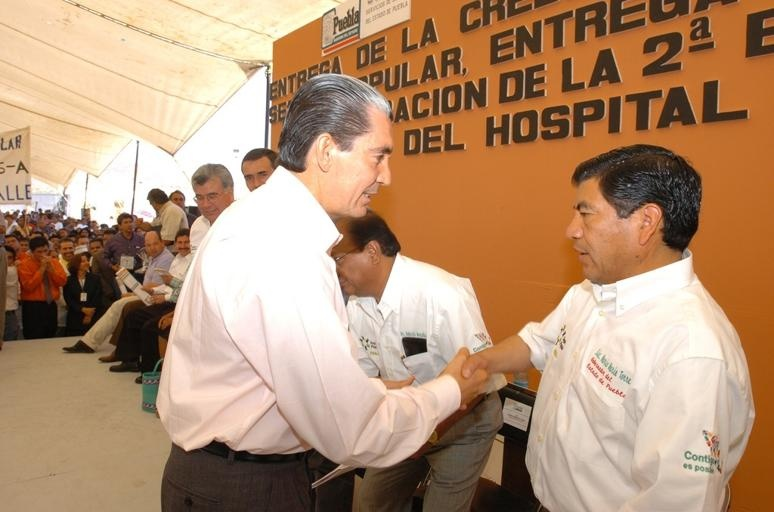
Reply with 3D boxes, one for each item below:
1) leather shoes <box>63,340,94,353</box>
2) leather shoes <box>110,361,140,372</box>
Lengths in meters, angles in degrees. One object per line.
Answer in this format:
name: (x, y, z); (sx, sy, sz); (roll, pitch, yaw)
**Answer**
leather shoes: (-3.724, 1.070, 6.193); (0.348, 0.154, 0.124); (3, 8, 1)
leather shoes: (-2.858, 1.187, 5.607); (0.348, 0.090, 0.193); (1, 8, -12)
